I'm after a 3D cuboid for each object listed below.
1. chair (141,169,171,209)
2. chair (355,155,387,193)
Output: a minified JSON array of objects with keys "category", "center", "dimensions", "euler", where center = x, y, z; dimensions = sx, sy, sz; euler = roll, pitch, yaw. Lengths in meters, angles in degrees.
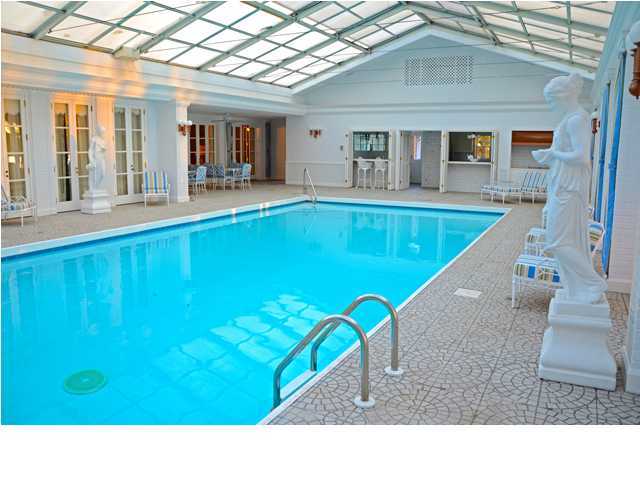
[{"category":"chair","center":[-6.013,-1.933,14.580],"dimensions":[0.922,1.171,0.898],"euler":[-5,15,-19]},{"category":"chair","center":[2.604,-3.313,19.899],"dimensions":[1.951,1.747,1.011],"euler":[4,13,26]}]
